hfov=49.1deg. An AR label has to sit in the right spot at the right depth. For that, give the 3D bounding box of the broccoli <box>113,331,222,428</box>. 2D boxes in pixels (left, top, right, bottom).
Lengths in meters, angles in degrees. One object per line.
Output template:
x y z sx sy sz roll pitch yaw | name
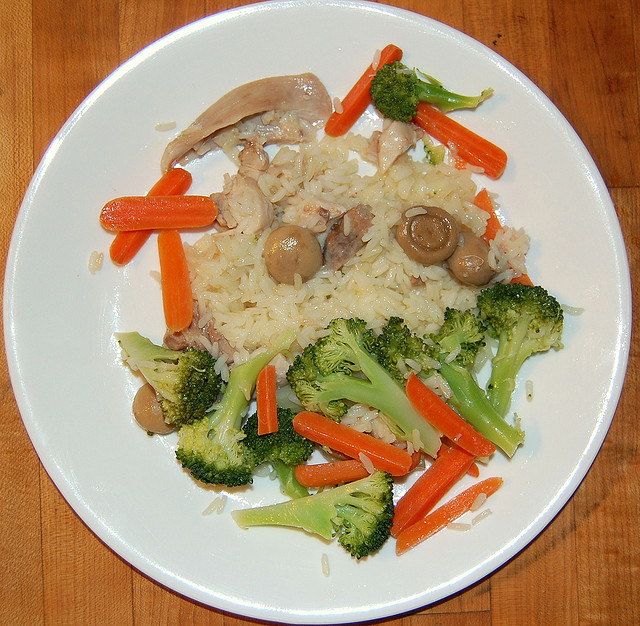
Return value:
-0.762 0.297 3.570 0.515 0.221 0.359 44 75 10 | broccoli

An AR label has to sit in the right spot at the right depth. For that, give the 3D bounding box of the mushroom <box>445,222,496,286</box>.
0.772 -0.292 3.582 0.187 0.147 0.302 -3 86 4 | mushroom

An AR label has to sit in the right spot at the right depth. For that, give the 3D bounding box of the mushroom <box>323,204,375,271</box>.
0.145 -0.366 3.693 0.195 0.079 0.364 43 109 37 | mushroom

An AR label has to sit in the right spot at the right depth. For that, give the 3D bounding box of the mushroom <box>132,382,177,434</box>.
-0.793 0.498 3.547 0.184 0.055 0.204 -50 48 19 | mushroom

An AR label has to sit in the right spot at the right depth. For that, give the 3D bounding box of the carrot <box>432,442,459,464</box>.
0.632 0.712 3.571 0.091 0.086 0.026 -42 110 -2 | carrot
